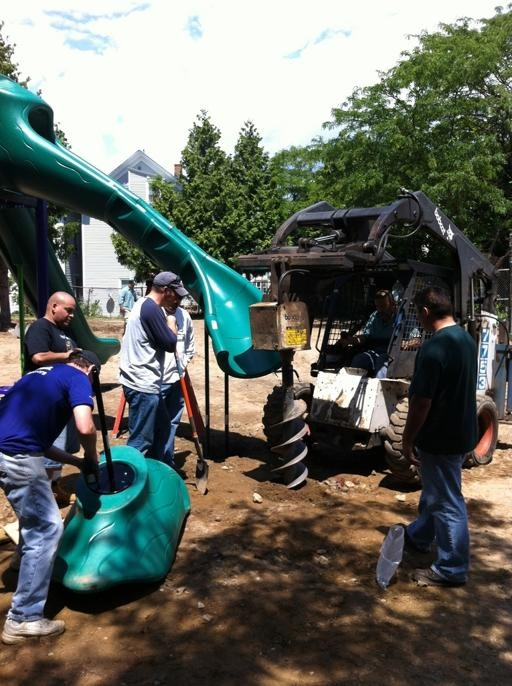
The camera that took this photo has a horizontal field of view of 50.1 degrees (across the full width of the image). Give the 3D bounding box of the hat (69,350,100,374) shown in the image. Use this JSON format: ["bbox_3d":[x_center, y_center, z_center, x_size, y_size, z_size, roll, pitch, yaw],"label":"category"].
[{"bbox_3d":[-1.045,0.117,3.332,0.135,0.098,0.217,37,-10,-3],"label":"hat"}]

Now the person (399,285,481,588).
[{"bbox_3d":[1.161,0.587,3.415,0.432,1.862,0.574,4,4,22],"label":"person"}]

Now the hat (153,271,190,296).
[{"bbox_3d":[-0.714,-0.502,4.638,0.271,0.141,0.166,12,16,-27],"label":"hat"}]

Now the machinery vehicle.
[{"bbox_3d":[1.429,-0.062,6.059,3.445,2.663,2.024,-3,7,-42],"label":"machinery vehicle"}]

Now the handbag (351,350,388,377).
[{"bbox_3d":[1.222,0.220,5.878,0.289,0.106,0.285,-13,19,-34],"label":"handbag"}]

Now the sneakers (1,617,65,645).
[{"bbox_3d":[-1.101,1.403,2.735,0.317,0.131,0.111,0,4,-26],"label":"sneakers"}]

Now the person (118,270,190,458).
[{"bbox_3d":[-0.844,0.229,4.578,0.602,1.651,0.549,-1,5,-40],"label":"person"}]
